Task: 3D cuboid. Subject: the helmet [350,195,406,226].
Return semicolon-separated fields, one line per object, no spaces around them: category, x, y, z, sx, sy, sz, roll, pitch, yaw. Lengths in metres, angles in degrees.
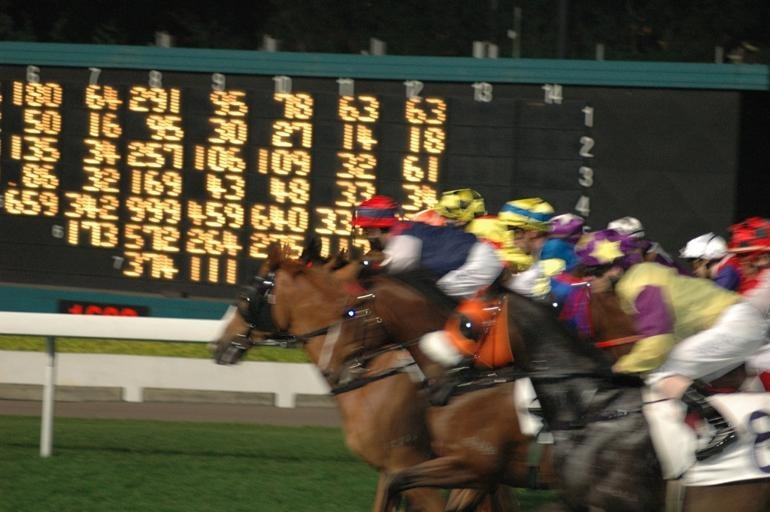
helmet;-0.046;-0.315;11.940;0.371;0.155;0.208;-4;-3;1

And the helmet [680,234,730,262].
helmet;2.401;-0.070;11.978;0.331;0.122;0.196;4;2;12
